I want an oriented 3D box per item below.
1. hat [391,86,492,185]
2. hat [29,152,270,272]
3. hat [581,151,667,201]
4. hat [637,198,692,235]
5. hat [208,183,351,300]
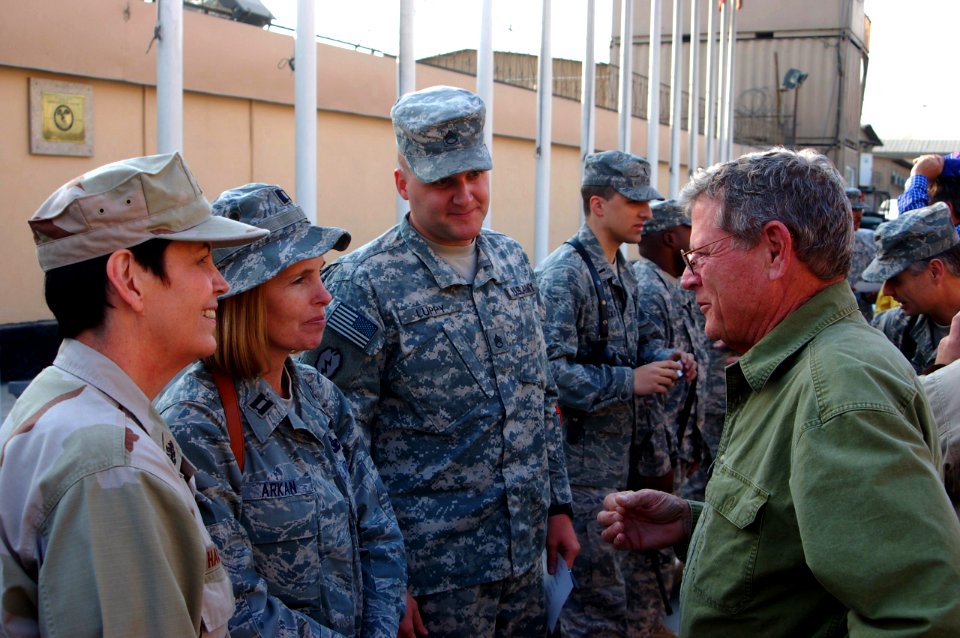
[{"bbox_3d":[-0.168,-0.863,4.511,0.443,0.329,0.606,-13,28,-20],"label":"hat"},{"bbox_3d":[-1.124,-0.361,3.372,0.784,0.342,0.513,-10,8,-18],"label":"hat"},{"bbox_3d":[0.839,-0.835,5.871,0.505,0.297,0.413,4,4,22],"label":"hat"},{"bbox_3d":[1.190,-0.647,6.420,0.447,0.177,0.328,-4,3,11],"label":"hat"},{"bbox_3d":[-0.759,-0.276,3.699,0.444,0.200,0.387,-2,20,29],"label":"hat"}]
